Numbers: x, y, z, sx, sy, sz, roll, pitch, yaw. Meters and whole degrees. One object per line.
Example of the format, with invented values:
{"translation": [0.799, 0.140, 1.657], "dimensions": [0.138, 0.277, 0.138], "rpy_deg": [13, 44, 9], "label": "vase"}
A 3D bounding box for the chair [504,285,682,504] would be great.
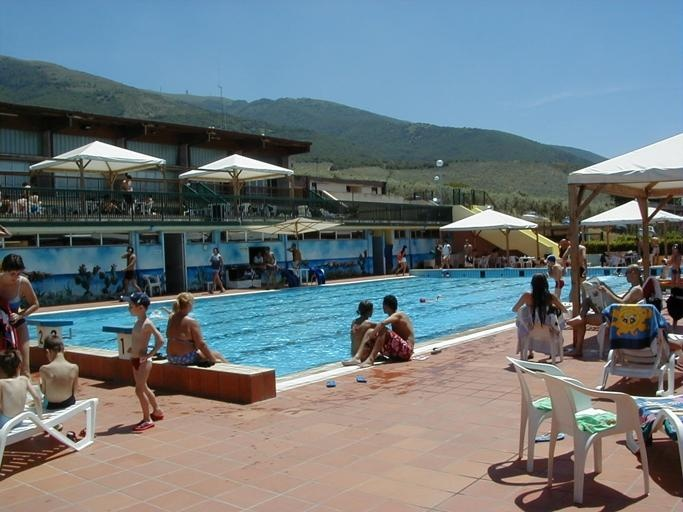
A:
{"translation": [2.743, 1.469, 6.117], "dimensions": [0.669, 1.476, 1.491], "rpy_deg": [-3, 1, -12], "label": "chair"}

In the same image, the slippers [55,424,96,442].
{"translation": [-2.947, 1.962, 6.163], "dimensions": [0.241, 0.091, 0.214], "rpy_deg": [-1, -2, 29], "label": "slippers"}

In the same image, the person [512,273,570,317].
{"translation": [3.088, 0.689, 8.712], "dimensions": [0.771, 1.002, 0.744], "rpy_deg": [-1, 17, 19], "label": "person"}

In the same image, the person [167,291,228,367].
{"translation": [-2.115, 1.130, 8.371], "dimensions": [0.820, 0.976, 1.381], "rpy_deg": [-1, -12, 12], "label": "person"}

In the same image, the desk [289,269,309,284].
{"translation": [-2.102, 0.970, 26.543], "dimensions": [0.680, 0.923, 0.952], "rpy_deg": [-1, 1, 34], "label": "desk"}

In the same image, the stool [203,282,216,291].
{"translation": [-6.003, 1.418, 24.948], "dimensions": [0.524, 0.514, 0.512], "rpy_deg": [-3, 2, -44], "label": "stool"}

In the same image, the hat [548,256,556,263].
{"translation": [5.591, 0.082, 14.870], "dimensions": [0.170, 0.193, 0.225], "rpy_deg": [-2, -5, -5], "label": "hat"}

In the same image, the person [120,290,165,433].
{"translation": [-2.326, 1.199, 6.698], "dimensions": [0.377, 1.517, 0.867], "rpy_deg": [-3, 2, -21], "label": "person"}

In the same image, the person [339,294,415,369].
{"translation": [0.662, 1.258, 9.719], "dimensions": [1.297, 1.182, 0.753], "rpy_deg": [1, -10, -20], "label": "person"}

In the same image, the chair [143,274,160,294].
{"translation": [-7.999, 1.205, 23.680], "dimensions": [0.745, 1.077, 0.729], "rpy_deg": [1, -4, -41], "label": "chair"}
